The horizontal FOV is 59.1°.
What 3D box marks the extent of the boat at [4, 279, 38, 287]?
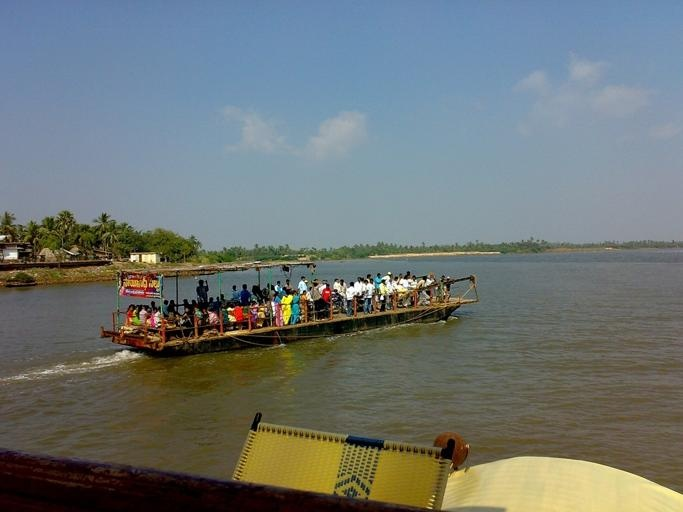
[{"bbox_3d":[-35.294,2.994,66.475,2.800,0.519,0.643,-2,14,-34],"label":"boat"}]
